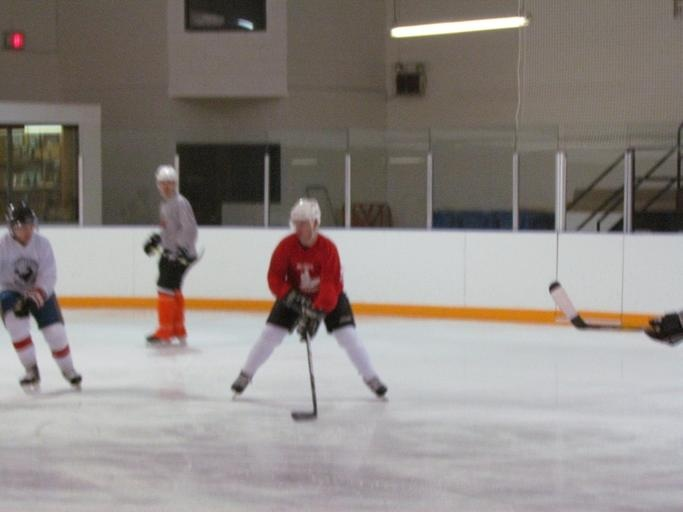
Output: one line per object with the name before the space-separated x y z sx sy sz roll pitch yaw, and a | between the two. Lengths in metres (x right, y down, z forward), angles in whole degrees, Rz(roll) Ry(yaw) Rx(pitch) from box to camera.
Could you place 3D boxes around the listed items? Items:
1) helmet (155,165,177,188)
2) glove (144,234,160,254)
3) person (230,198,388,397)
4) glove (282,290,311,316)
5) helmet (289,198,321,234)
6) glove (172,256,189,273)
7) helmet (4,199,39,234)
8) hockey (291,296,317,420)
helmet | -1.769 -0.806 10.669 0.186 0.160 0.259 -1 11 -5
glove | -1.952 -0.108 10.847 0.185 0.079 0.157 -43 11 -14
person | -0.262 0.367 8.595 1.264 1.672 0.911 2 8 9
glove | -0.355 0.383 8.362 0.159 0.074 0.215 34 1 -2
helmet | -0.318 -0.322 8.424 0.187 0.268 0.260 1 11 12
glove | -1.617 0.100 10.648 0.152 0.059 0.120 26 -11 33
helmet | -2.630 -0.319 8.697 0.228 0.232 0.273 -4 12 -21
hockey | -0.335 0.930 8.650 0.190 0.180 0.921 -9 51 1
